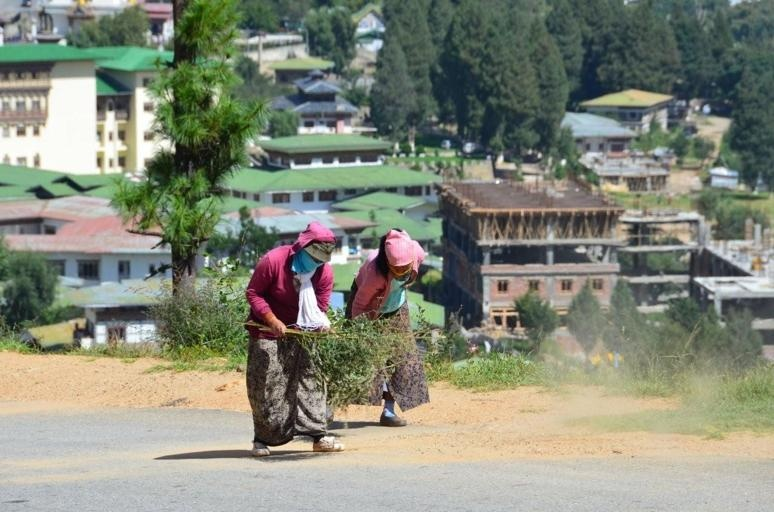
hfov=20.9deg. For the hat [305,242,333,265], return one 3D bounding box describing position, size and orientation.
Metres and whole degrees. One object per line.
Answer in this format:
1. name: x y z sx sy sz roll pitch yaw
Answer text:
1. hat: -3.379 -0.069 104.831 1.178 0.650 0.941 27 17 30
